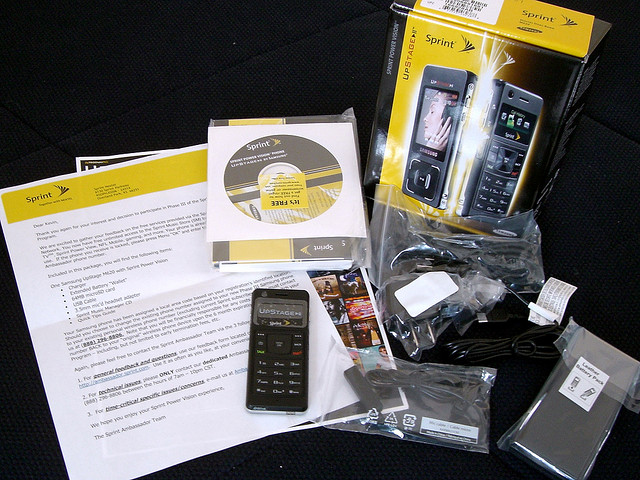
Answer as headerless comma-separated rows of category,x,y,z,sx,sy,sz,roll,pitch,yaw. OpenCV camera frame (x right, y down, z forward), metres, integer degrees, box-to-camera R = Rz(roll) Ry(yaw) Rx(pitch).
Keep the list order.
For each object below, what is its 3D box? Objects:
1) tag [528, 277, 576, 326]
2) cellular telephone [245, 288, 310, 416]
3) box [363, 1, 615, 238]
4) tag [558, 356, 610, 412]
tag,0.347,0.094,0.735,0.042,0.019,0.086,29,69,20
cellular telephone,-0.058,0.159,0.707,0.088,0.024,0.194,2,46,-4
box,0.230,-0.183,0.749,0.295,0.283,0.261,20,66,16
tag,0.357,0.199,0.666,0.044,0.006,0.055,34,74,6
